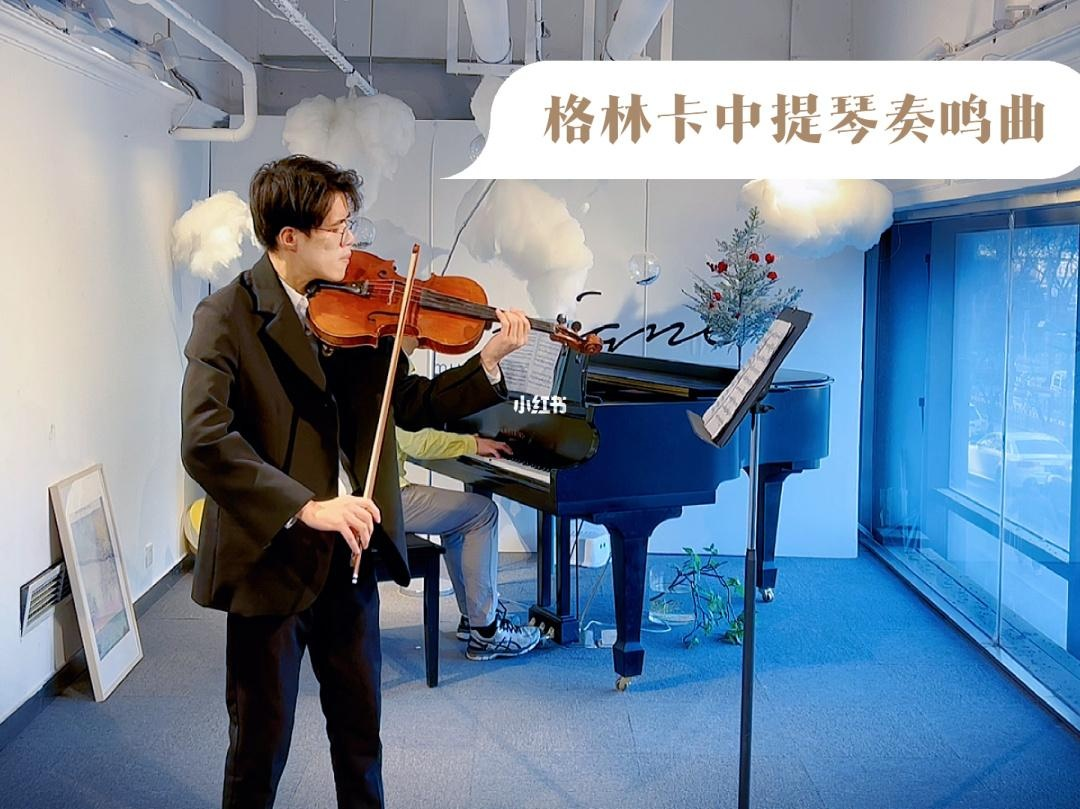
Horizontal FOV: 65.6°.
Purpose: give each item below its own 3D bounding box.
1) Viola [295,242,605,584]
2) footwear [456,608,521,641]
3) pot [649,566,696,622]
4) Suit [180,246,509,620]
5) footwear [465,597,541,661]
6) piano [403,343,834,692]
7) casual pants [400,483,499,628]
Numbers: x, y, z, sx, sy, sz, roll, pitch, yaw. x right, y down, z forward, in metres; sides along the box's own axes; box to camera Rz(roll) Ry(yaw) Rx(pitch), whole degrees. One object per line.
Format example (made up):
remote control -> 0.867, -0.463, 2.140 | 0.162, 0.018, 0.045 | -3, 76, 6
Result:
Viola -> -0.355, -0.219, 3.089 | 1.166, 0.296, 0.602 | 10, 41, -42
footwear -> -0.286, 1.163, 4.466 | 0.382, 0.185, 0.135 | -2, 4, -9
pot -> 0.768, 1.140, 4.930 | 0.194, 0.246, 0.215 | 0, -5, 0
Suit -> -0.645, 0.193, 2.905 | 0.860, 1.457, 1.082 | -10, -18, 41
footwear -> -0.184, 1.188, 4.448 | 0.440, 0.272, 0.180 | 0, 4, -21
piano -> 0.621, 0.456, 4.776 | 2.073, 1.650, 1.552 | -5, 10, -28
casual pants -> -0.466, 0.776, 4.511 | 0.557, 0.781, 0.778 | 0, 2, -28
